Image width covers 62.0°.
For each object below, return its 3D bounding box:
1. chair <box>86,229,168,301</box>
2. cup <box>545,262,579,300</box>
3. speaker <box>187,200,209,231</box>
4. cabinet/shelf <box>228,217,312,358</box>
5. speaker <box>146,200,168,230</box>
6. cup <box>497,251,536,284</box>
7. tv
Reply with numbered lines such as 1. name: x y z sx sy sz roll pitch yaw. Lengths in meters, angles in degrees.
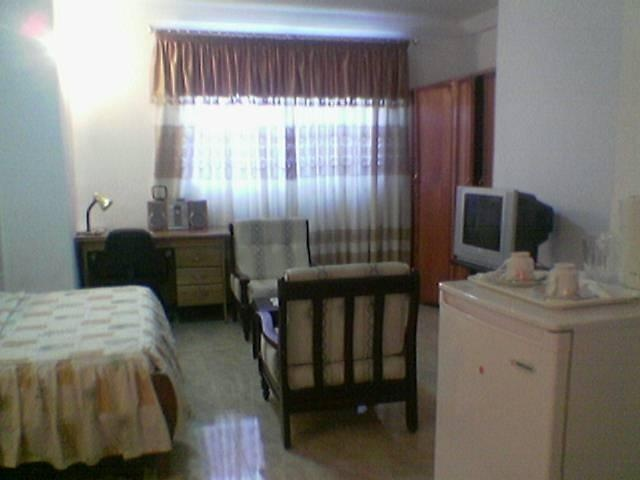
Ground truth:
1. chair: -1.571 0.150 4.583 0.523 0.795 0.487 -1 15 -14
2. cup: 0.956 0.153 2.092 0.101 0.150 0.143 4 8 32
3. speaker: -1.177 -0.242 5.142 0.221 0.375 0.238 -1 0 -17
4. cabinet/shelf: -0.367 0.351 4.596 0.729 1.083 0.732 -2 2 -7
5. speaker: -1.564 -0.204 5.133 0.199 0.309 0.170 -3 -22 -14
6. cup: 0.831 0.126 2.294 0.154 0.150 0.094 -9 19 -19
7. tv: 1.304 -0.074 3.832 0.382 0.608 0.677 -1 8 -15
